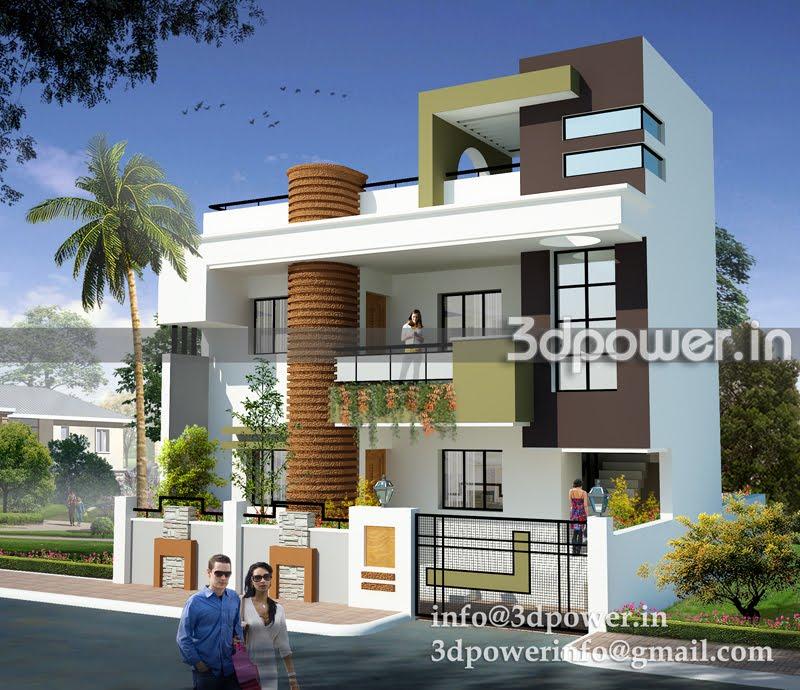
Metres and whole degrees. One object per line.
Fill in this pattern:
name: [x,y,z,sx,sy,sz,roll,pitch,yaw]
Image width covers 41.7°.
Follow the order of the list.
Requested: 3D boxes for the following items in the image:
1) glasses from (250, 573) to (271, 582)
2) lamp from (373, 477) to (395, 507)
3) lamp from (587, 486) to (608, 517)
glasses: [-1.777,2.963,13.438,0.263,0.124,0.126,15,-16,-32]
lamp: [-0.374,3.061,21.918,0.308,0.607,0.519,4,-13,3]
lamp: [3.774,2.990,20.035,0.444,0.750,0.473,0,-1,14]
